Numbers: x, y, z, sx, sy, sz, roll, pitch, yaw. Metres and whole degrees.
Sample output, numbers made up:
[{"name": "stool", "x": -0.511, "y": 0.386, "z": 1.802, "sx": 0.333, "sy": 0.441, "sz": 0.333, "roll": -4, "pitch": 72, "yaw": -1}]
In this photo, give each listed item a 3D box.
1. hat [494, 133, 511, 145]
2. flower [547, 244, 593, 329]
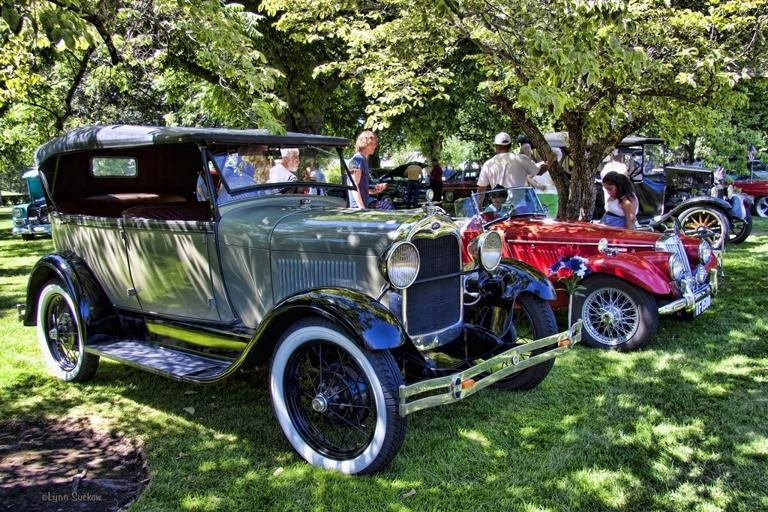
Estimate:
[{"name": "hat", "x": 1.885, "y": -1.820, "z": 9.123, "sx": 0.212, "sy": 0.148, "sz": 0.335, "roll": -2, "pitch": 24, "yaw": 4}, {"name": "flower", "x": 2.359, "y": 0.480, "z": 7.101, "sx": 0.527, "sy": 0.962, "sz": 0.481, "roll": -7, "pitch": 10, "yaw": -25}]
